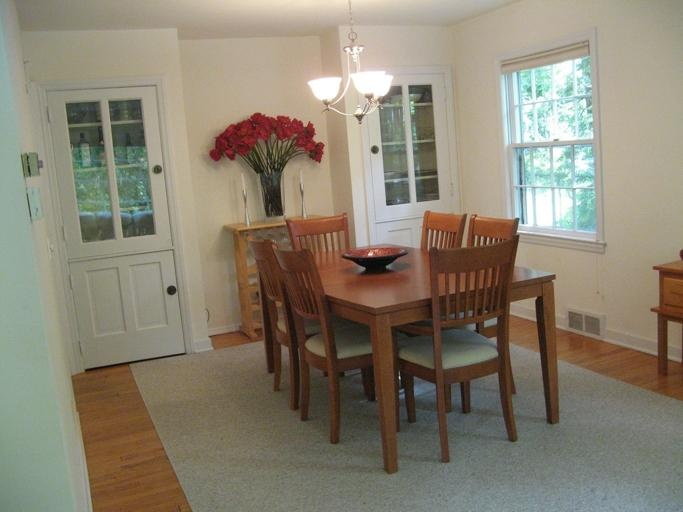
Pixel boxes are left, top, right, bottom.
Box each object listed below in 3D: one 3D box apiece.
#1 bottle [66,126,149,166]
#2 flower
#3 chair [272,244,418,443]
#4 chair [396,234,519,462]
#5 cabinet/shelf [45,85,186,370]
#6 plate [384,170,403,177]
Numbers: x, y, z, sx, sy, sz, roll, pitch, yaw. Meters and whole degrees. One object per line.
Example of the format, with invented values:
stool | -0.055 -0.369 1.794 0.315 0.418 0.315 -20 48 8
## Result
bottle | -1.953 -0.942 4.566 0.453 0.414 0.105 -7 13 -17
flower | -0.731 -0.828 5.467 0.998 1.038 1.078 1 5 30
chair | -0.005 0.400 3.710 1.005 1.595 0.903 -8 10 -29
chair | 0.655 0.473 3.077 0.709 1.184 0.559 -6 13 -5
cabinet/shelf | -1.903 -0.235 4.633 0.950 2.338 0.252 -9 14 -17
plate | 0.527 -0.852 5.449 0.112 0.031 0.106 21 37 39
